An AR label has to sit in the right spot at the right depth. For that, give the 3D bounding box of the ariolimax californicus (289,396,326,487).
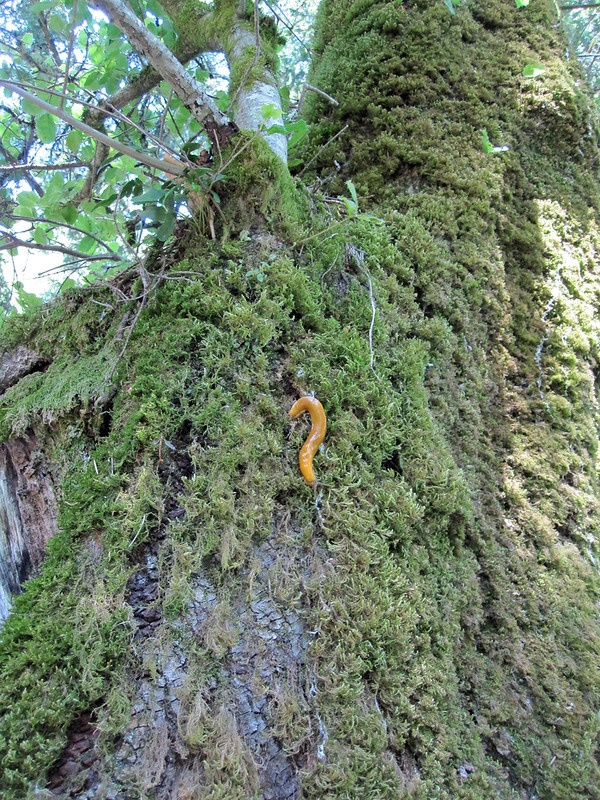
[{"bbox_3d":[0.046,0.194,3.257,0.170,0.392,0.092,3,-17,-12],"label":"ariolimax californicus"}]
